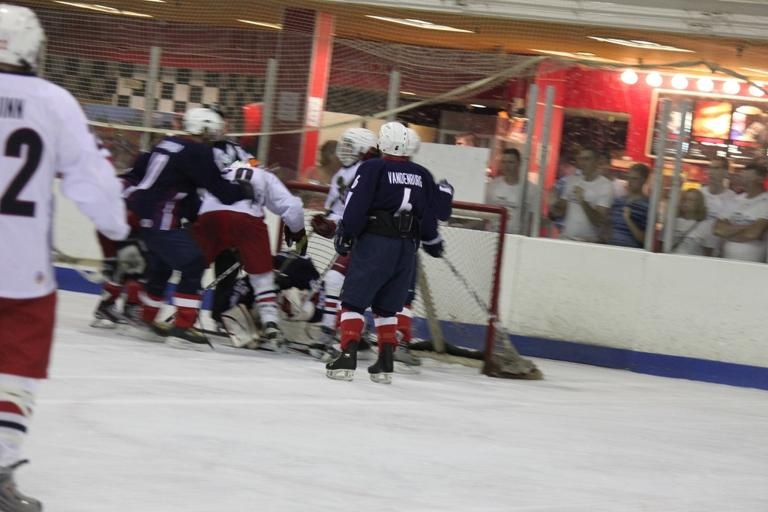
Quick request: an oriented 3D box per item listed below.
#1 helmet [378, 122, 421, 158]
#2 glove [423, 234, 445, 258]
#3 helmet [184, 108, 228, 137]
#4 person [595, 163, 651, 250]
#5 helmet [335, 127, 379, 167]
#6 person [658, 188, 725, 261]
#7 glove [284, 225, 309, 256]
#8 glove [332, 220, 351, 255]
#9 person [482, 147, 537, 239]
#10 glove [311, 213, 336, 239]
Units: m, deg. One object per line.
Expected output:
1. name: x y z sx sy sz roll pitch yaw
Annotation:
1. helmet: 0.110 -0.948 6.123 0.278 0.281 0.315 4 28 -12
2. glove: 0.426 -0.084 6.453 0.168 0.218 0.363 10 8 15
3. helmet: -1.581 -1.198 6.734 0.348 0.222 0.232 -11 39 -10
4. person: 2.446 -0.505 7.505 0.399 0.833 0.141 10 9 13
5. helmet: -0.243 -0.992 6.885 0.406 0.336 0.322 -3 11 -15
6. person: 3.028 -0.335 7.375 0.685 0.909 0.342 6 15 40
7. glove: -0.788 -0.121 6.894 0.131 0.376 0.151 2 48 17
8. glove: -0.284 -0.140 5.983 0.140 0.226 0.180 0 -7 13
9. person: 1.257 -0.671 7.710 0.411 0.858 0.107 10 9 7
10. glove: -0.522 -0.265 6.698 0.247 0.075 0.178 38 57 4
